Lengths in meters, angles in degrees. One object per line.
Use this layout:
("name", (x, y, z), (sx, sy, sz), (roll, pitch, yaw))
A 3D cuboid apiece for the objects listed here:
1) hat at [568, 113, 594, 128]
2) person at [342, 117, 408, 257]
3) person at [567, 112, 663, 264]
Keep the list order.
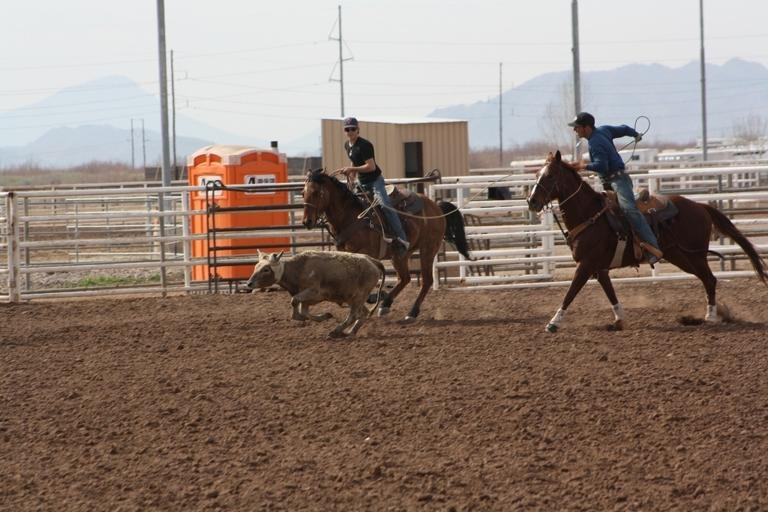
("hat", (2.604, -1.807, 12.807), (0.324, 0.193, 0.596), (-2, 6, 10))
("person", (-0.187, -0.998, 13.709), (0.760, 1.896, 1.037), (-1, 6, 28))
("person", (3.080, -1.037, 13.220), (1.156, 1.912, 1.045), (-3, 15, 27))
